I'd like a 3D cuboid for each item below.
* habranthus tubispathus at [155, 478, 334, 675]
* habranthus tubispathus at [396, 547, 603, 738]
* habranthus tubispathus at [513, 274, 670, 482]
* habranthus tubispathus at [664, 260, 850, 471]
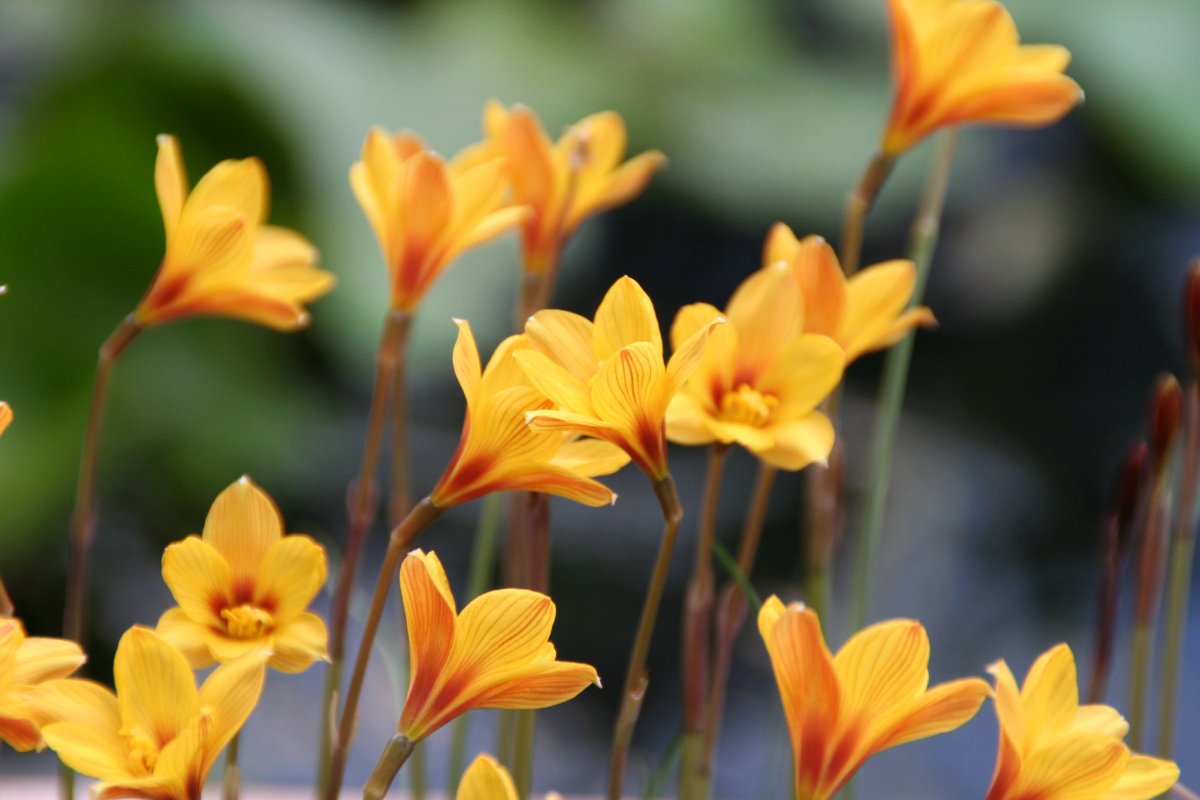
[{"bbox_3d":[-0.202,0.118,0.933,0.078,0.124,0.060,9,-9,-6],"label":"habranthus tubispathus"},{"bbox_3d":[-0.058,0.138,0.944,0.100,0.067,0.101,44,16,24],"label":"habranthus tubispathus"},{"bbox_3d":[0.003,-0.003,0.976,0.078,0.095,0.104,5,36,25],"label":"habranthus tubispathus"},{"bbox_3d":[0.092,-0.022,0.956,0.098,0.108,0.041,5,1,9],"label":"habranthus tubispathus"}]
